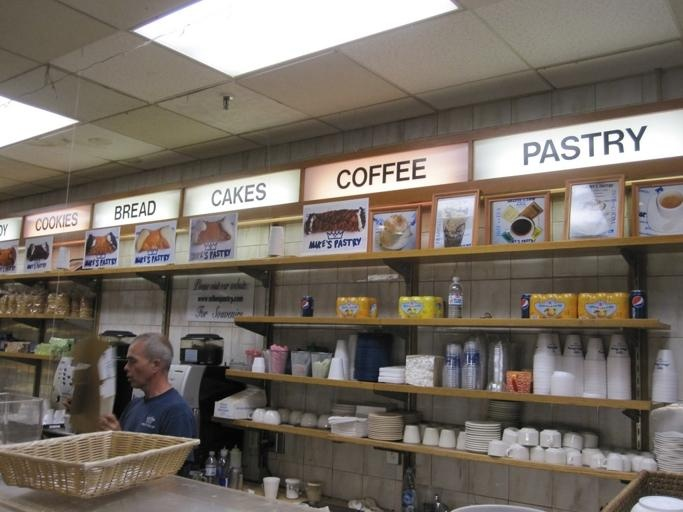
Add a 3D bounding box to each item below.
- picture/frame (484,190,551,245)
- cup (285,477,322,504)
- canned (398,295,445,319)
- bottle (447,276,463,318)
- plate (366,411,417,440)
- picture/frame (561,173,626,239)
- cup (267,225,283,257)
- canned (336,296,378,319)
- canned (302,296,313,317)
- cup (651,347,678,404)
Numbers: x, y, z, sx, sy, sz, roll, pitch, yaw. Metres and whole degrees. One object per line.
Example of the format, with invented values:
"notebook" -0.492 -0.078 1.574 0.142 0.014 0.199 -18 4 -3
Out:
"picture/frame" 1.151 -0.244 3.622 0.369 0.346 0.037 -3 -15 36
"cup" -0.316 1.832 4.421 0.276 0.120 0.156 -1 -14 37
"canned" 0.549 0.340 3.884 0.244 0.161 0.125 4 6 27
"bottle" 0.773 0.277 3.811 0.087 0.278 0.127 1 -7 6
"plate" 0.375 1.199 3.997 0.187 0.093 0.252 -4 -7 37
"picture/frame" 1.542 -0.302 3.407 0.420 0.546 0.063 -2 -20 32
"cup" -0.545 -0.140 4.786 0.128 0.294 0.242 2 -6 -4
"canned" 0.115 0.379 4.163 0.235 0.114 0.163 -3 -8 33
"canned" -0.268 0.393 4.429 0.081 0.159 0.164 3 -6 -11
"cup" 1.869 0.692 3.255 0.137 0.306 0.217 -2 -7 29
